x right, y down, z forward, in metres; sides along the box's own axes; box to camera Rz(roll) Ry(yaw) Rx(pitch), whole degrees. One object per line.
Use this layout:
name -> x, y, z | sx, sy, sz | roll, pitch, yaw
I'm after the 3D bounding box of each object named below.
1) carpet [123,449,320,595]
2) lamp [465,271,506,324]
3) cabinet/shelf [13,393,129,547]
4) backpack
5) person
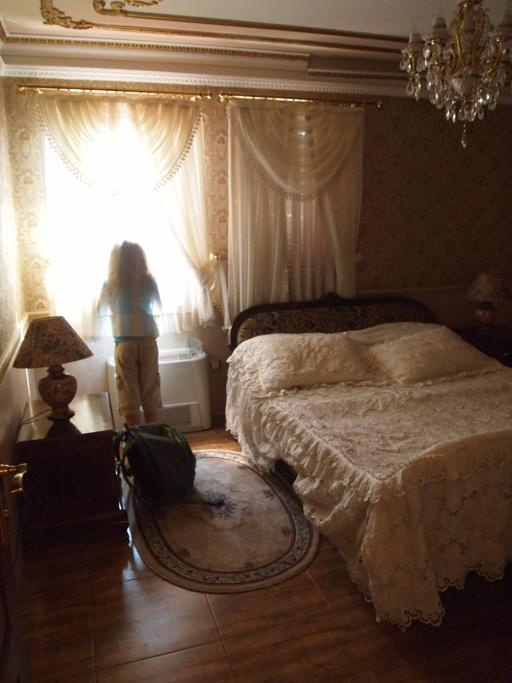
carpet -> -0.211, 0.862, 2.796 | 0.891, 0.019, 1.523 | -5, 11, -22
lamp -> 1.845, -0.372, 4.260 | 0.302, 0.455, 0.301 | -15, 21, -17
cabinet/shelf -> -0.790, 0.607, 2.644 | 0.557, 0.615, 0.879 | -5, 17, -11
backpack -> -0.538, 0.627, 2.948 | 0.444, 0.462, 0.338 | -11, 11, -20
person -> -0.773, -0.035, 3.290 | 0.365, 1.169, 0.248 | -5, 11, -17
